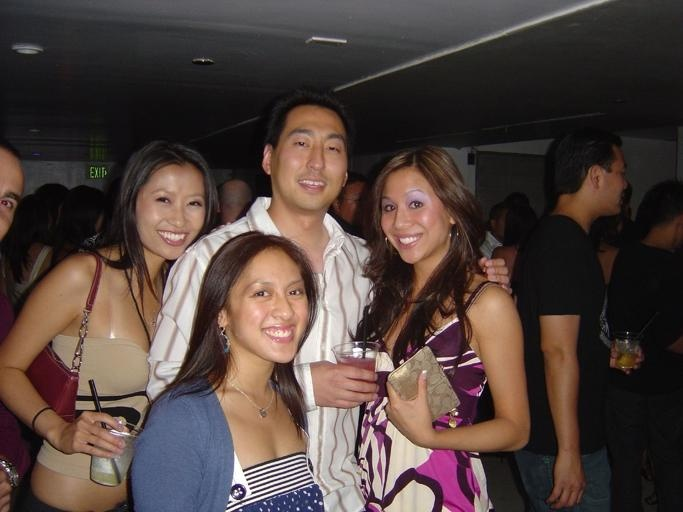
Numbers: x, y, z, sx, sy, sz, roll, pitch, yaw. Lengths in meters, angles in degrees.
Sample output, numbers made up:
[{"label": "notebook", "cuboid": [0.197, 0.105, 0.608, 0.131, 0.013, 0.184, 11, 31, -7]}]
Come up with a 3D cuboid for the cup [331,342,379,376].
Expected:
[{"label": "cup", "cuboid": [0.063, 0.483, 2.300, 0.146, 0.124, 0.159, 0, -16, 0]}]
